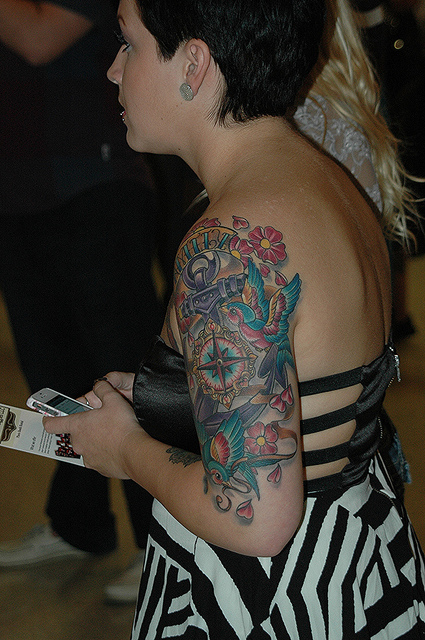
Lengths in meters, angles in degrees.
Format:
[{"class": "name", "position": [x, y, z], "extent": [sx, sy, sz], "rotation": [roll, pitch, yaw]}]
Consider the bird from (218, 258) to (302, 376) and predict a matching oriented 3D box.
[{"class": "bird", "position": [0.043, -0.004, 0.591], "extent": [0.083, 0.085, 0.053], "rotation": [33, 94, -20]}]
